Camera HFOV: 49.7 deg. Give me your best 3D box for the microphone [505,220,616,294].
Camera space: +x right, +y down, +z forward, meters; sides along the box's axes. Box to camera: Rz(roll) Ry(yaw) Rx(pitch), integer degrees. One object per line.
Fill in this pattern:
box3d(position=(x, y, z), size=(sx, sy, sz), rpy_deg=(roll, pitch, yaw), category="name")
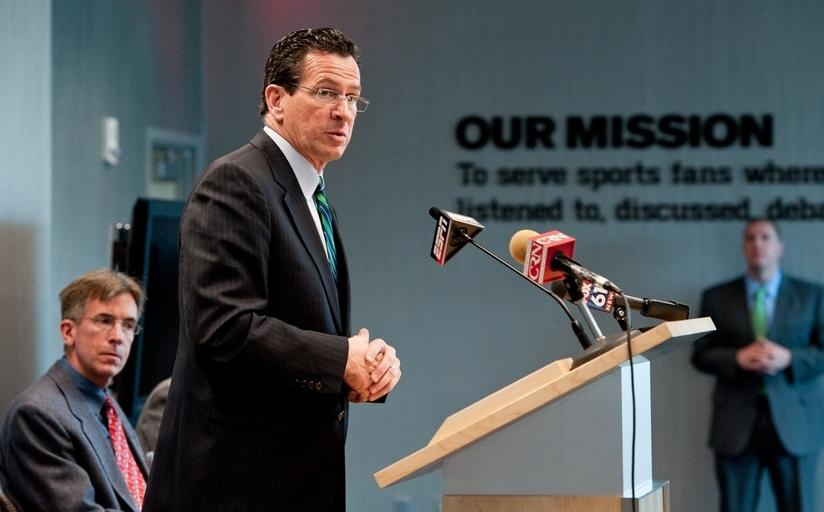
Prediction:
box3d(position=(0.555, 0.009, 3.763), size=(0.176, 0.197, 0.601), rpy_deg=(-5, 25, -44), category="microphone")
